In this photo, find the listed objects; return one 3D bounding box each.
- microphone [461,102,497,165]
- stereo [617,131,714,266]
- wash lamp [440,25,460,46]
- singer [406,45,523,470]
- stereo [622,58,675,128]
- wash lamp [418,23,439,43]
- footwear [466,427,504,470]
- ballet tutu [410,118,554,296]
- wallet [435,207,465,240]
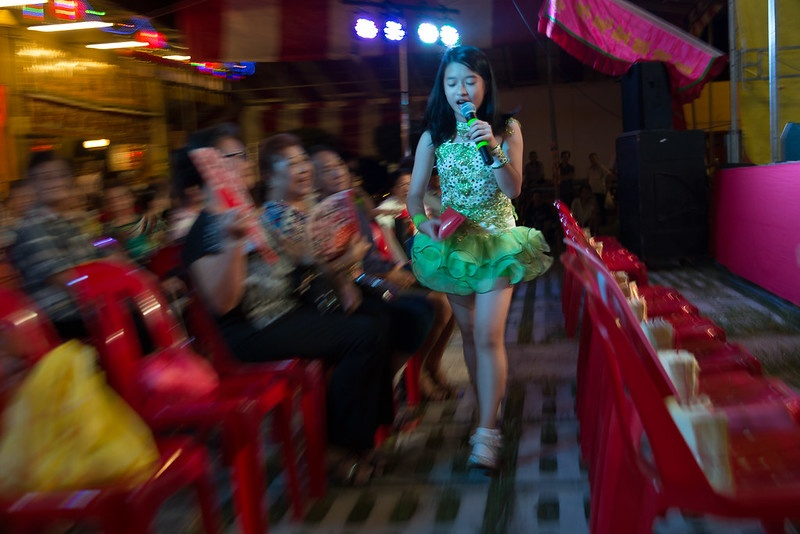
[{"bbox_3d":[0.346,-0.622,2.214,0.093,0.366,0.074,-1,-30,-22],"label":"microphone"},{"bbox_3d":[3.530,-0.983,6.933,0.936,1.792,1.287,1,13,7],"label":"stereo"},{"bbox_3d":[0.654,-2.911,6.159,0.332,0.267,0.126,-13,11,-39],"label":"wash lamp"},{"bbox_3d":[0.364,-0.080,2.342,0.631,1.975,0.810,-2,-1,-2],"label":"singer"},{"bbox_3d":[3.466,-2.357,6.790,0.552,0.958,0.667,-4,9,15],"label":"stereo"},{"bbox_3d":[0.344,-2.914,6.067,0.276,0.237,0.064,-10,9,-26],"label":"wash lamp"},{"bbox_3d":[0.393,0.830,2.272,0.182,0.208,0.171,9,-19,-3],"label":"footwear"},{"bbox_3d":[0.371,-0.292,2.415,0.589,0.882,0.617,-1,23,4],"label":"ballet tutu"},{"bbox_3d":[0.237,-0.196,2.265,0.034,0.130,0.139,26,9,-45],"label":"wallet"}]
